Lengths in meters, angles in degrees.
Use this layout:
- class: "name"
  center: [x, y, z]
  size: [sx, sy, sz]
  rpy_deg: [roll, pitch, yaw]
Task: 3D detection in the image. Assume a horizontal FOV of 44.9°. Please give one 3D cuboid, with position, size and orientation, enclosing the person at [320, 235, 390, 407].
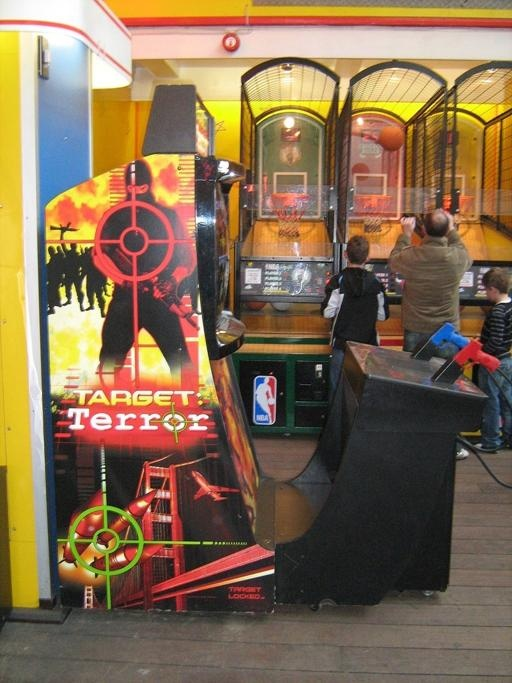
- class: "person"
  center: [0.618, -0.150, 3.923]
  size: [0.405, 1.026, 0.169]
  rpy_deg: [3, 9, 10]

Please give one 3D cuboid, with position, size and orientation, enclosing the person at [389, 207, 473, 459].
- class: "person"
  center: [1.011, -0.359, 3.741]
  size: [0.480, 0.843, 0.349]
  rpy_deg: [5, 10, 27]

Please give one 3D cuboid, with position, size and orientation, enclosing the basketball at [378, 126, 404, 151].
- class: "basketball"
  center: [1.194, -1.812, 5.490]
  size: [0.223, 0.206, 0.195]
  rpy_deg: [3, 9, 12]
